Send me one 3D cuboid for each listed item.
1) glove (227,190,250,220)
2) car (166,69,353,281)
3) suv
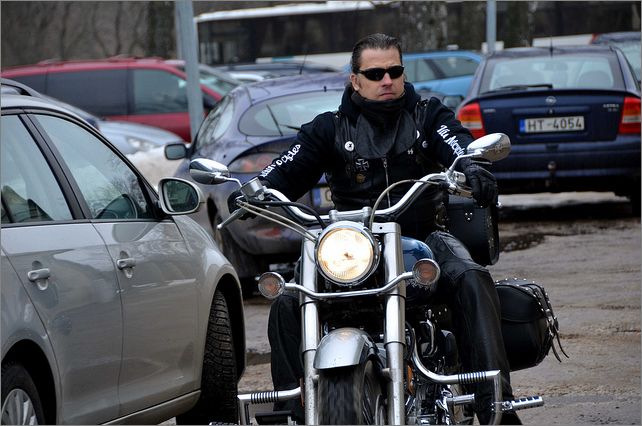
[{"bbox_3d":[-0.487,-0.043,5.348,0.153,0.069,0.123,17,-8,33],"label":"glove"},{"bbox_3d":[-0.635,-0.551,9.626,1.279,1.137,2.250,-2,11,-12],"label":"car"},{"bbox_3d":[-3.047,-1.862,14.376,3.406,1.513,1.708,-2,4,5],"label":"suv"}]
